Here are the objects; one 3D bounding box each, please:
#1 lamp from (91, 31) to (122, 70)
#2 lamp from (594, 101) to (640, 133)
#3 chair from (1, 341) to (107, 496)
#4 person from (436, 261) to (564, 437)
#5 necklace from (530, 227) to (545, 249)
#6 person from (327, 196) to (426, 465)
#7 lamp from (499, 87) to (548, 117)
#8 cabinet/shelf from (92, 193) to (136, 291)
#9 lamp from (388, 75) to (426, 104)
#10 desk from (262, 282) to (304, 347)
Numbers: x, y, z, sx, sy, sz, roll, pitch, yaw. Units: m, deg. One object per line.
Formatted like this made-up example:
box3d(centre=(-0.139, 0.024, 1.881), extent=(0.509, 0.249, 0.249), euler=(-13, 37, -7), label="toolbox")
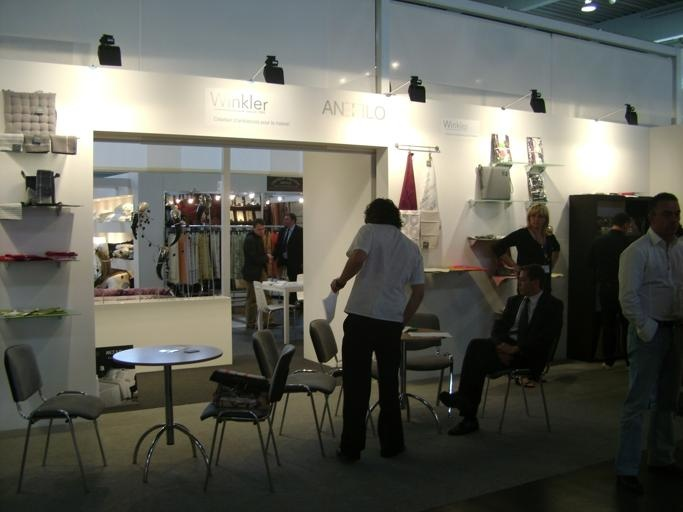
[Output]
box3d(centre=(-2.333, -2.048, 5.692), extent=(0.223, 0.341, 0.161), euler=(-2, 5, -16), label="lamp")
box3d(centre=(4.220, -2.138, 8.579), extent=(0.934, 0.385, 0.358), euler=(-4, 6, -35), label="lamp")
box3d(centre=(-2.355, 1.190, 4.776), extent=(0.672, 1.030, 1.461), euler=(-2, 6, -23), label="chair")
box3d(centre=(1.516, 0.988, 5.454), extent=(1.153, 1.279, 0.443), euler=(-1, 5, -9), label="person")
box3d(centre=(2.412, -0.228, 7.042), extent=(0.142, 0.267, 0.062), euler=(-11, 0, -30), label="necklace")
box3d(centre=(0.322, 0.711, 4.808), extent=(0.727, 1.952, 0.310), euler=(-2, 5, -23), label="person")
box3d(centre=(2.536, -2.132, 7.775), extent=(0.990, 0.394, 0.305), euler=(-4, 6, -37), label="lamp")
box3d(centre=(-3.757, -0.181, 9.389), extent=(0.536, 1.750, 1.534), euler=(2, -2, -38), label="cabinet/shelf")
box3d(centre=(0.800, -2.040, 7.026), extent=(0.591, 0.326, 0.322), euler=(-1, 5, -13), label="lamp")
box3d(centre=(-0.924, 0.931, 9.066), extent=(0.939, 0.642, 0.482), euler=(-2, 3, -35), label="desk")
